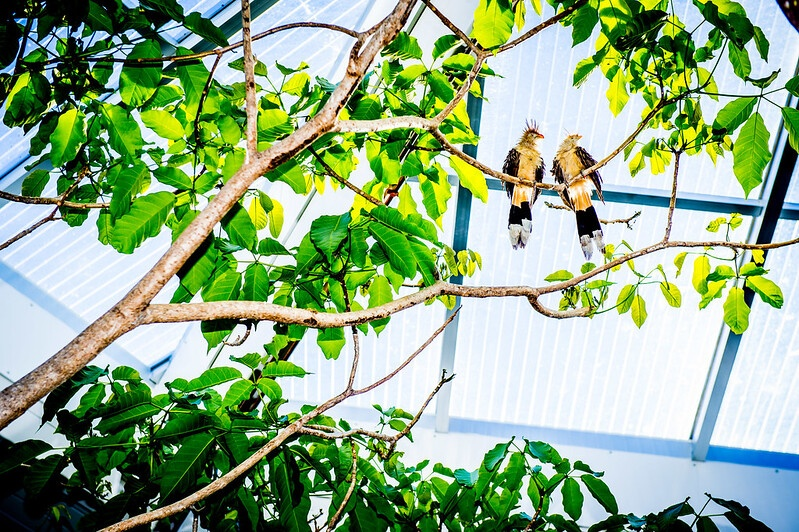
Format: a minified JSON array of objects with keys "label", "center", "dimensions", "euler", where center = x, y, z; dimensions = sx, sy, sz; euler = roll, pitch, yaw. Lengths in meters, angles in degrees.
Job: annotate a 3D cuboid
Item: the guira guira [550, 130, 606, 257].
[{"label":"guira guira","center":[0.871,-0.306,2.926],"dimensions":[0.234,0.253,0.770],"euler":[-10,-43,22]}]
